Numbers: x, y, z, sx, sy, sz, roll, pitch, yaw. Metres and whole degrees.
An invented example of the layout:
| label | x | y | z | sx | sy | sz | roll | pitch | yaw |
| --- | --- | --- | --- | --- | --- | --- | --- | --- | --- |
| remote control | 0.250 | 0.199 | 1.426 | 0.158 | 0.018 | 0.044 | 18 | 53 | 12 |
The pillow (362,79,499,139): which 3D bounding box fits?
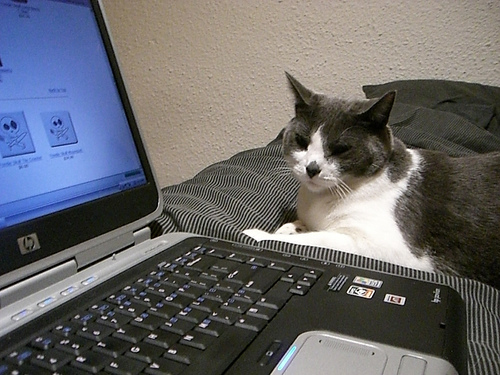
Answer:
| label | x | y | z | sx | sy | sz | roll | pitch | yaw |
| --- | --- | --- | --- | --- | --- | --- | --- | --- | --- |
| pillow | 0.564 | -0.273 | 1.177 | 0.330 | 0.047 | 0.250 | 6 | 33 | 26 |
